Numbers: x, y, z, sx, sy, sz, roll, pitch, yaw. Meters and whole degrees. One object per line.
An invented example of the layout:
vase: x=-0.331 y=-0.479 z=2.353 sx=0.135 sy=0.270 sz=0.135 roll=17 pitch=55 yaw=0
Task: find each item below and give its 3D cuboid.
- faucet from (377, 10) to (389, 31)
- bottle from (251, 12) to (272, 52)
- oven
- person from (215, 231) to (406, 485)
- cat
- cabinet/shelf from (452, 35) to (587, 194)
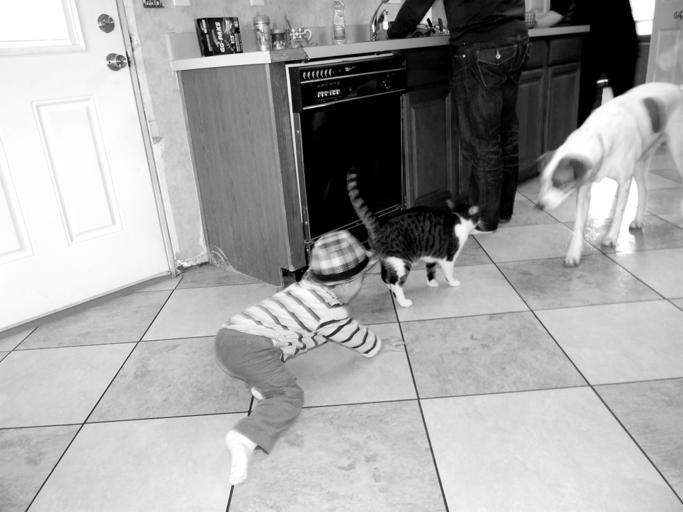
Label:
faucet: x=0.301 y=-1.695 z=3.394 sx=0.091 sy=0.146 sz=0.135 roll=5 pitch=41 yaw=2
bottle: x=-0.426 y=-1.231 z=2.601 sx=0.094 sy=0.165 sz=0.205 roll=-9 pitch=27 yaw=-6
oven: x=-0.049 y=-0.580 z=2.726 sx=0.832 sy=0.993 sz=0.504 roll=-21 pitch=29 yaw=-32
person: x=-0.179 y=0.306 z=1.729 sx=0.427 sy=0.546 sz=0.900 roll=1 pitch=23 yaw=40
cat: x=0.385 y=-0.093 z=2.286 sx=0.741 sy=0.651 sz=0.192 roll=-9 pitch=15 yaw=-30
cabinet/shelf: x=1.107 y=-0.910 z=3.007 sx=0.538 sy=0.971 sz=1.010 roll=20 pitch=40 yaw=36
